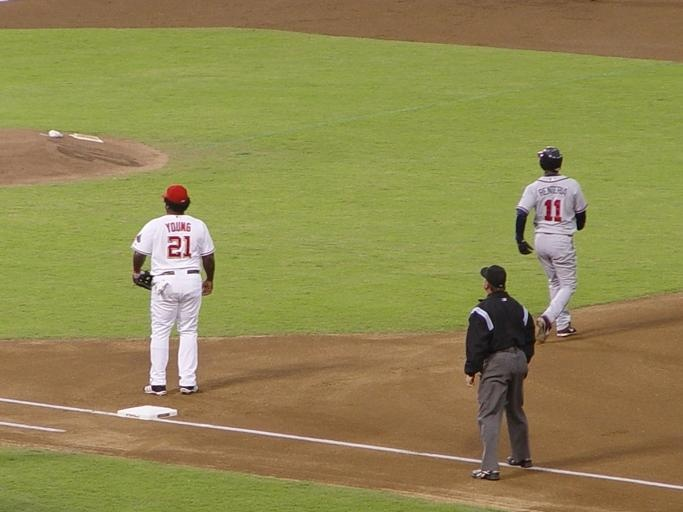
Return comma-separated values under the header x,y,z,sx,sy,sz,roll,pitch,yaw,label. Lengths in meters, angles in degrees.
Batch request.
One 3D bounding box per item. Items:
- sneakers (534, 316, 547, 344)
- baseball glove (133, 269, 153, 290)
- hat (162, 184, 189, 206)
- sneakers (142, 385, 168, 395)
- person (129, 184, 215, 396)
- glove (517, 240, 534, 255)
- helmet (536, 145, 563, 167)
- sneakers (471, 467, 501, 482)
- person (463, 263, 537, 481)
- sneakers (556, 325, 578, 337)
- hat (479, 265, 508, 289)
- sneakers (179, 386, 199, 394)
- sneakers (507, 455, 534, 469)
x,y,z,sx,sy,sz,roll,pitch,yaw,label
3.339,1.168,27.223,0.218,0.435,0.258,14,32,37,sneakers
-3.027,0.360,26.157,0.313,0.234,0.260,-3,-42,52,baseball glove
-2.575,-0.946,26.316,0.438,0.243,0.514,-4,17,-19,hat
-2.879,2.075,26.316,0.382,0.139,0.136,7,9,23,sneakers
-2.576,0.537,26.224,1.228,3.242,0.337,-1,9,-6,person
3.044,-0.118,27.551,0.307,0.226,0.109,-13,-29,-2,glove
3.548,-1.619,27.541,0.445,0.370,0.460,-2,13,-10,helmet
2.102,3.096,24.043,0.396,0.122,0.154,4,7,6,sneakers
2.286,1.643,24.157,0.907,3.018,0.590,-8,12,-43,person
3.786,1.218,27.724,0.381,0.125,0.139,-9,24,-37,sneakers
2.223,0.264,24.215,0.329,0.174,0.387,-1,20,-18,hat
-2.355,2.073,26.378,0.121,0.106,0.280,10,9,30,sneakers
2.638,2.956,24.411,0.387,0.124,0.135,10,15,30,sneakers
